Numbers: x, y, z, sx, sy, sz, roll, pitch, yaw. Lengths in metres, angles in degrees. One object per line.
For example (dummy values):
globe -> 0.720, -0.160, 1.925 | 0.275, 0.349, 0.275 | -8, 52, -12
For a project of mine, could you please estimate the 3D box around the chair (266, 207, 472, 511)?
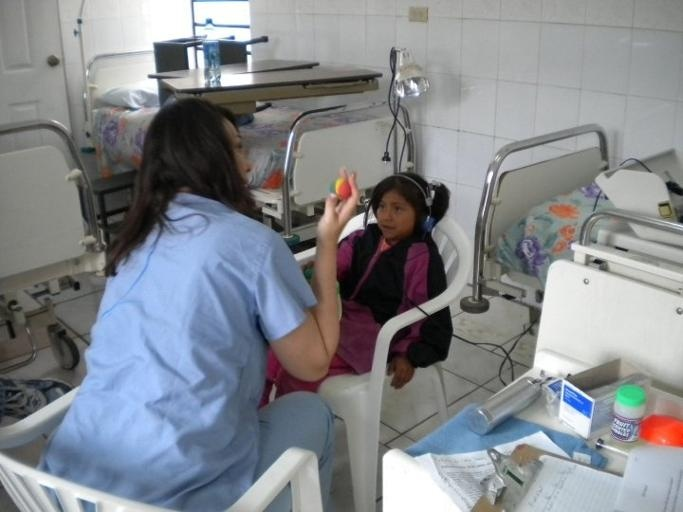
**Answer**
chair -> 0.006, 0.177, 2.234 | 0.842, 1.266, 0.831 | -22, 32, -37

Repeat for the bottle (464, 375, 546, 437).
bottle -> 0.428, 0.396, 1.356 | 0.083, 0.098, 0.305 | 28, 29, 32

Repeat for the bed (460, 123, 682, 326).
bed -> 1.013, -0.204, 2.610 | 0.939, 0.815, 0.345 | -15, 22, -21

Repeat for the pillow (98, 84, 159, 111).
pillow -> -1.990, -1.485, 4.833 | 0.420, 0.143, 0.396 | -5, 20, -4

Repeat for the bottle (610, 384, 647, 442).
bottle -> 0.618, 0.342, 1.111 | 0.055, 0.117, 0.050 | 10, 19, 29
